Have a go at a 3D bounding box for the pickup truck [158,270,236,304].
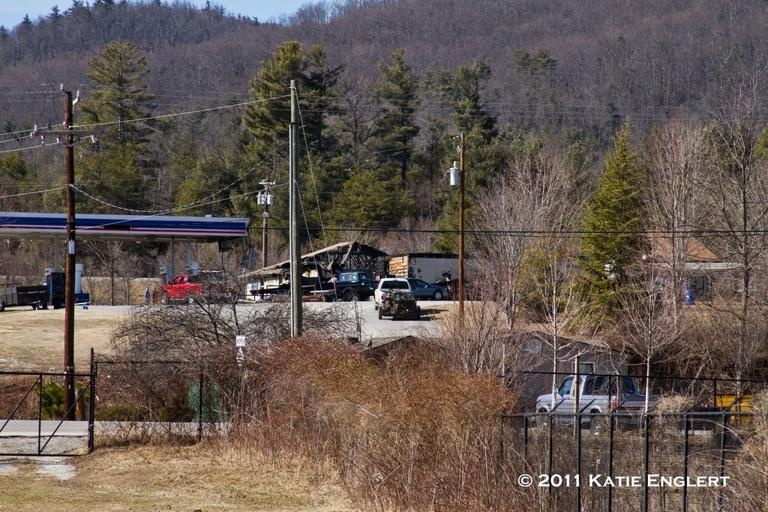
[{"bbox_3d":[-22.060,4.811,209.694,4.338,3.787,10.607,1,0,-32],"label":"pickup truck"}]
